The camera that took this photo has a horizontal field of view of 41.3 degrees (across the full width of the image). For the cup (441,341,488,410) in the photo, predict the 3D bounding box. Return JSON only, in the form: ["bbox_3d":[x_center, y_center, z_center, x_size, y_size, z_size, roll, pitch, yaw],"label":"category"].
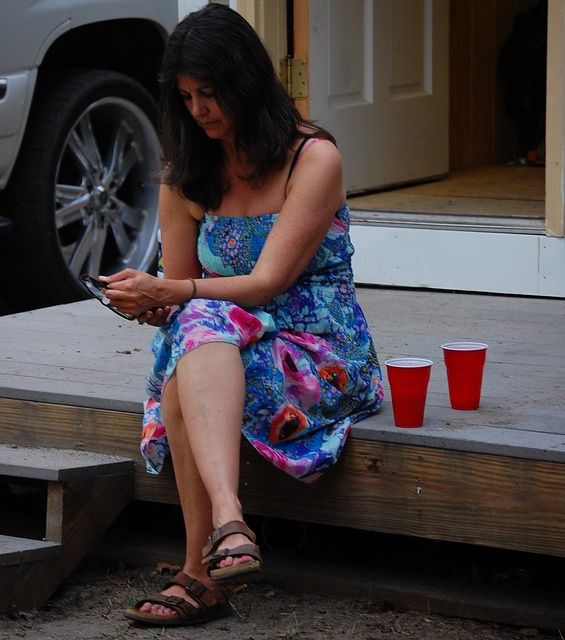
[{"bbox_3d":[0.410,0.128,1.693,0.087,0.160,0.223,-1,1,12],"label":"cup"}]

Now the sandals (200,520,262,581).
[{"bbox_3d":[-0.082,0.366,1.206,0.069,0.049,0.121,-10,-3,-6],"label":"sandals"}]

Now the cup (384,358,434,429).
[{"bbox_3d":[0.274,0.145,1.581,0.134,0.133,0.112,1,5,16],"label":"cup"}]
